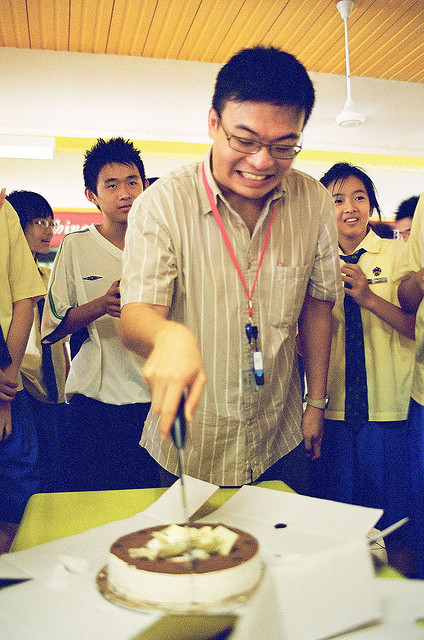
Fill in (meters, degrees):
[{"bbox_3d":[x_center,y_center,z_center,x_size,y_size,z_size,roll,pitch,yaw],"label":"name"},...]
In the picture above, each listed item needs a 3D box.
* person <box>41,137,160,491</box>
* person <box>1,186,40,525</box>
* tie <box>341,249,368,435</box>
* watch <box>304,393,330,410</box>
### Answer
[{"bbox_3d":[-0.350,0.133,1.804,0.460,1.485,0.444,-7,18,-26],"label":"person"},{"bbox_3d":[-0.638,0.128,1.645,0.143,1.082,0.386,-2,-3,-19],"label":"person"},{"bbox_3d":[0.478,0.148,1.669,0.091,0.470,0.056,-2,-3,-6],"label":"tie"},{"bbox_3d":[0.262,0.180,1.243,0.060,0.039,0.066,4,-21,27],"label":"watch"}]
